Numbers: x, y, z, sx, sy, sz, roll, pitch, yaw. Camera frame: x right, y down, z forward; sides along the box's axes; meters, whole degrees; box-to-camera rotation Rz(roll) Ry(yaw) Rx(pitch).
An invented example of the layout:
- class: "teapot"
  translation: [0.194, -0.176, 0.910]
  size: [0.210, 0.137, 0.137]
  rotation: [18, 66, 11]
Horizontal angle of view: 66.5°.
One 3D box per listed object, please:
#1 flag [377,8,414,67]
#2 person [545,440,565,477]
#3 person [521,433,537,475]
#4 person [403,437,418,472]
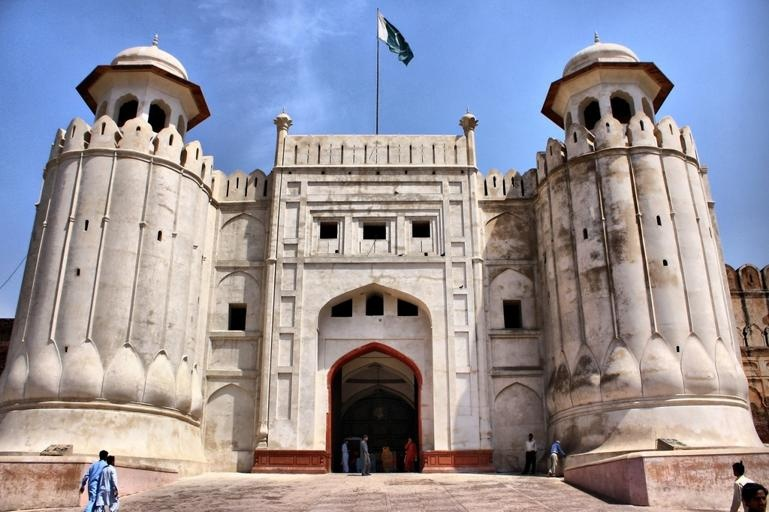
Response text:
- class: "flag"
  translation: [0.425, -8.810, 23.781]
  size: [1.294, 2.258, 1.035]
  rotation: [-2, -13, 3]
- class: "person"
  translation: [4.965, 5.848, 16.954]
  size: [0.524, 0.929, 0.988]
  rotation: [-5, -14, 15]
- class: "person"
  translation: [4.473, 6.075, 18.115]
  size: [0.439, 1.148, 0.979]
  rotation: [-4, -14, 13]
- class: "person"
  translation: [0.920, 6.739, 19.870]
  size: [0.389, 1.092, 1.173]
  rotation: [-3, -14, 5]
